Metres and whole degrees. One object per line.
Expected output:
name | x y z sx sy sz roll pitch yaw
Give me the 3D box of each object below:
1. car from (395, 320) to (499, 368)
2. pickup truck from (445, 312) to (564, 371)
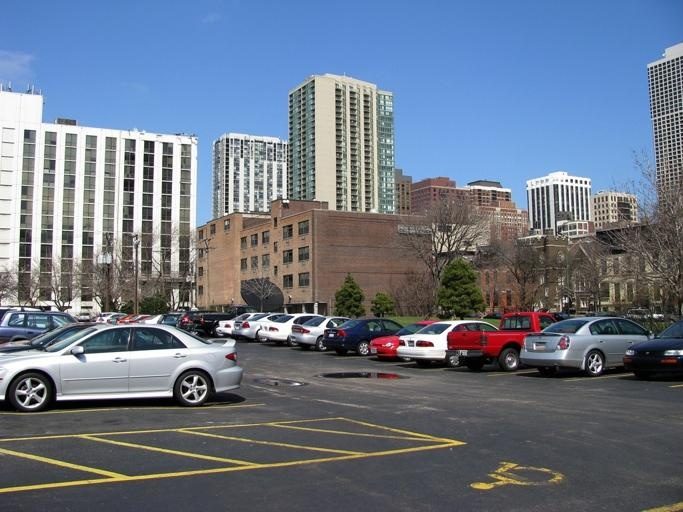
car | 3.880 3.021 24.098 3.350 1.028 1.522 -1 0 -35
pickup truck | 5.401 2.820 23.060 3.302 1.339 1.682 -3 -1 -30
